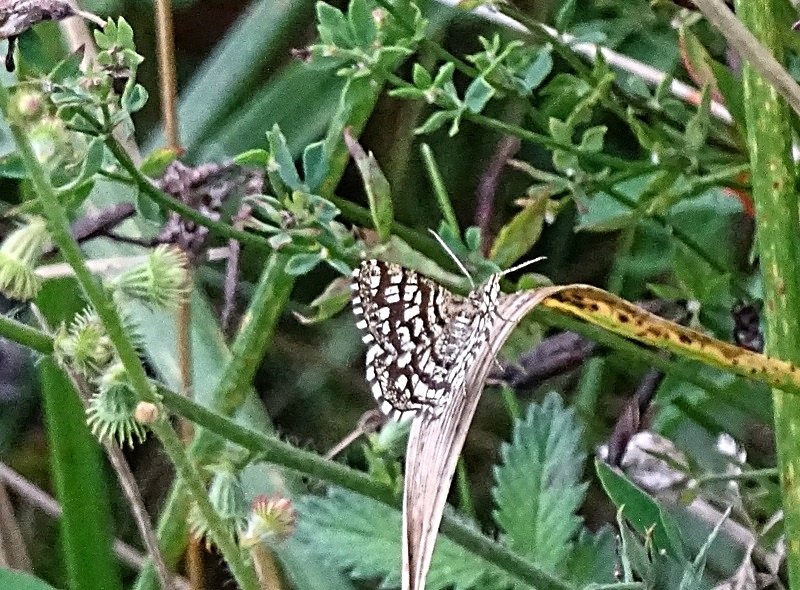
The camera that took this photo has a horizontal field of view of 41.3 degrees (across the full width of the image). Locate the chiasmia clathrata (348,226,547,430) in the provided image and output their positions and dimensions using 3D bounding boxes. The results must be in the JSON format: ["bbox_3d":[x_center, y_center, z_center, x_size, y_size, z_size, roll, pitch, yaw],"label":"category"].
[{"bbox_3d":[0.016,0.012,1.337,0.121,0.286,0.220,10,-25,-39],"label":"chiasmia clathrata"}]
